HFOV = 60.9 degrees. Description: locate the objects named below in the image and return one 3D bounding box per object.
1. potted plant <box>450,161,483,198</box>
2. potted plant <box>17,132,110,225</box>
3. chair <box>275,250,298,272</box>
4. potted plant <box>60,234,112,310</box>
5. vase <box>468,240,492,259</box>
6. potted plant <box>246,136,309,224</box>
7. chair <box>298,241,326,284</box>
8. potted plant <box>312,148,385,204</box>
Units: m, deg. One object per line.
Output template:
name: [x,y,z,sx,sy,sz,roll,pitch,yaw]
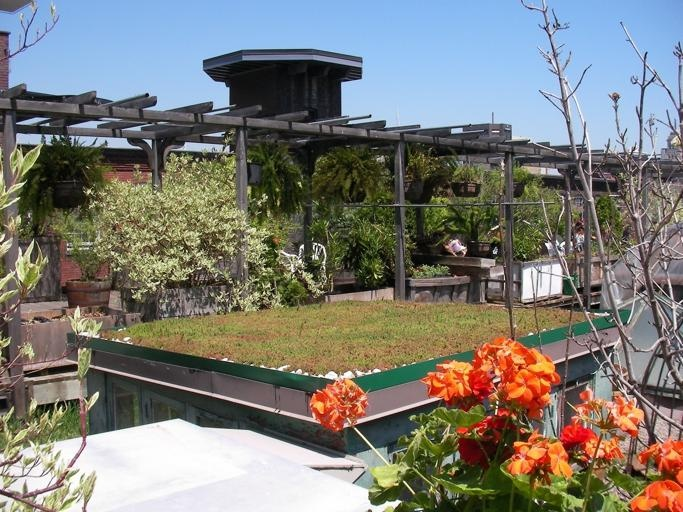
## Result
potted plant: [2.126,-1.313,9.942,0.483,0.644,0.655,-3,-2,20]
potted plant: [-3.655,-1.051,7.626,0.944,0.824,1.009,-11,14,7]
chair: [-0.681,0.073,7.345,0.266,0.140,0.243,16,18,15]
potted plant: [-3.619,0.306,8.222,0.656,1.057,0.710,0,-4,-5]
vase: [2.240,-0.113,9.511,0.274,0.209,0.285,3,3,29]
potted plant: [-0.873,-0.985,7.466,0.928,1.015,0.892,5,10,34]
chair: [-0.433,0.133,8.026,0.287,0.241,0.277,16,-13,-2]
potted plant: [0.129,-1.244,8.622,0.957,0.786,0.980,7,14,34]
